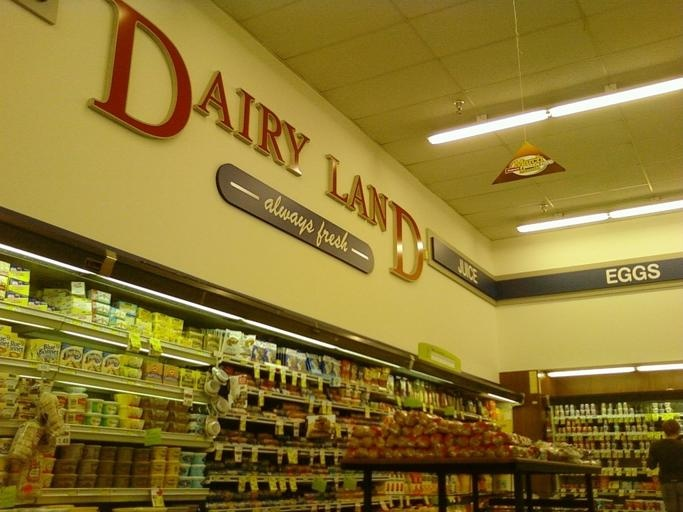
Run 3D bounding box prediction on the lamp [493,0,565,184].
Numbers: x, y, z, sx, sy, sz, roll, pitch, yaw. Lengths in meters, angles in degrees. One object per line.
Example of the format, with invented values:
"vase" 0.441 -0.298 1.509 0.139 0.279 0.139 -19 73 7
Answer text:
"lamp" 2.240 -1.569 6.154 0.747 1.610 2.641 -6 -27 21
